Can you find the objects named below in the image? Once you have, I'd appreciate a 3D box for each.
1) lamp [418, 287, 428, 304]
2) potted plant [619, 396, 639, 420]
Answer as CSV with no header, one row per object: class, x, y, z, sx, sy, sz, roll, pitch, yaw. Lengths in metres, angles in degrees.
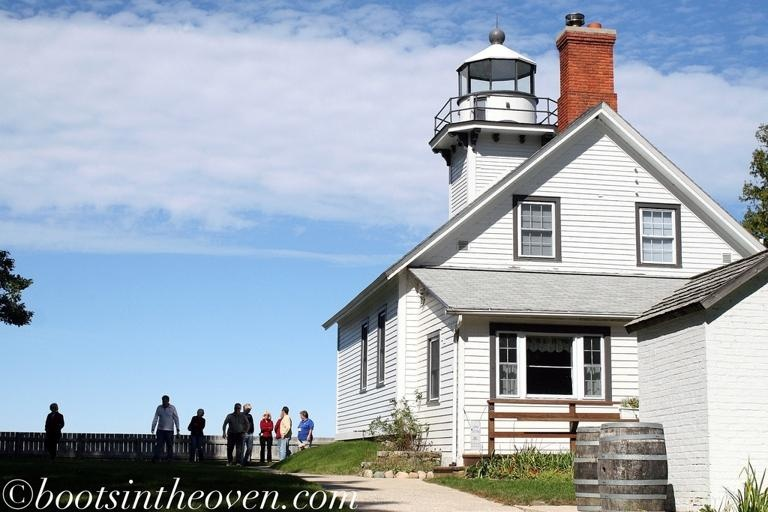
lamp,1.192,1.243,47.297,0.142,0.432,0.286,7,-2,-7
potted plant,7.191,4.497,44.431,0.520,0.513,0.815,-2,3,6
